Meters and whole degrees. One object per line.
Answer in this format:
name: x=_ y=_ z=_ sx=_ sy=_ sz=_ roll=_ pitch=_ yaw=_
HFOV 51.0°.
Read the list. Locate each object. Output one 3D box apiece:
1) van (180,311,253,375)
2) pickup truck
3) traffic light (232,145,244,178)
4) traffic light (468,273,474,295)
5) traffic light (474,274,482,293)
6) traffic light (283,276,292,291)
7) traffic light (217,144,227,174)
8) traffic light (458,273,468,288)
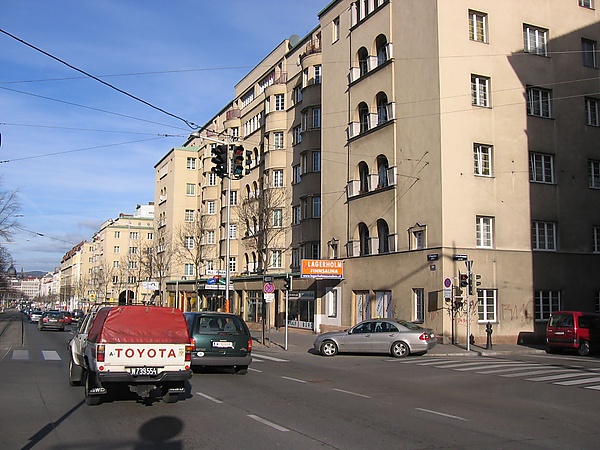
van: x=-2.603 y=3.893 z=20.998 sx=1.323 sy=1.292 sz=2.561 roll=1 pitch=-2 yaw=-13
pickup truck: x=-4.639 y=3.321 z=17.148 sx=1.926 sy=1.699 sz=3.547 roll=4 pitch=-6 yaw=-23
traffic light: x=-2.609 y=-2.735 z=26.511 sx=0.524 sy=1.445 sz=1.318 roll=1 pitch=-4 yaw=-5
traffic light: x=8.437 y=2.891 z=30.797 sx=0.265 sy=1.003 sz=0.592 roll=0 pitch=-4 yaw=14
traffic light: x=9.243 y=3.032 z=32.411 sx=0.275 sy=0.930 sz=2.295 roll=-1 pitch=-5 yaw=16
traffic light: x=-0.572 y=3.021 z=31.856 sx=0.284 sy=0.744 sz=1.102 roll=0 pitch=-4 yaw=4
traffic light: x=-3.237 y=-2.641 z=25.890 sx=0.548 sy=1.216 sz=1.097 roll=1 pitch=-4 yaw=-8
traffic light: x=8.239 y=2.828 z=31.479 sx=0.351 sy=0.655 sz=1.839 roll=0 pitch=-5 yaw=12
